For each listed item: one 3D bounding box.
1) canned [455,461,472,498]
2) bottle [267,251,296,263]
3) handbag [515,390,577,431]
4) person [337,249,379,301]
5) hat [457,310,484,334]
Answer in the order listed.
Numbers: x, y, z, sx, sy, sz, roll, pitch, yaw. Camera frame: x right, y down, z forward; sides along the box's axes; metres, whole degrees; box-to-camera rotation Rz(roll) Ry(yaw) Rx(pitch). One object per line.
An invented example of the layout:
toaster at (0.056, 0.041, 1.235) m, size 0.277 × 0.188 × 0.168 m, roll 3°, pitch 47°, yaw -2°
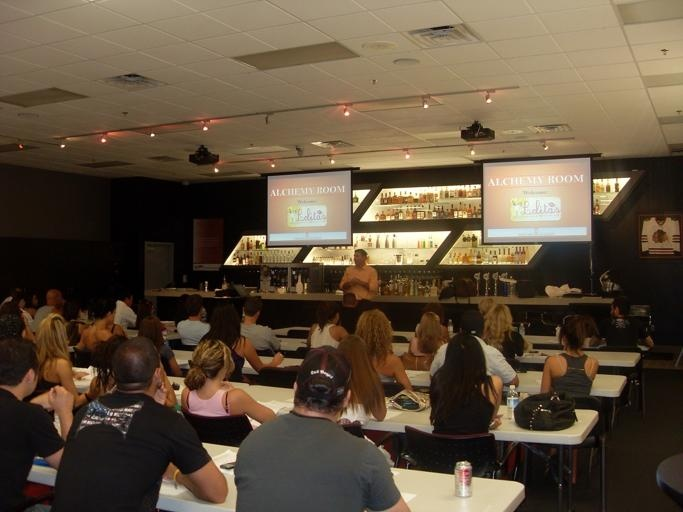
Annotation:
canned at (0.596, 1.079, 2.495) m, size 0.091 × 0.100 × 0.071 m, roll 1°, pitch -1°, yaw -4°
bottle at (-1.592, 0.005, 13.733) m, size 0.535 × 0.192 × 0.381 m, roll -3°, pitch -5°, yaw 18°
handbag at (1.433, 1.083, 3.603) m, size 0.405 × 0.218 × 0.265 m, roll 1°, pitch -1°, yaw -31°
person at (0.385, 0.429, 11.232) m, size 1.029 × 1.243 × 0.696 m, roll -4°, pitch -13°, yaw 25°
hat at (1.062, 0.576, 4.217) m, size 0.194 × 0.256 × 0.259 m, roll 2°, pitch 15°, yaw 8°
